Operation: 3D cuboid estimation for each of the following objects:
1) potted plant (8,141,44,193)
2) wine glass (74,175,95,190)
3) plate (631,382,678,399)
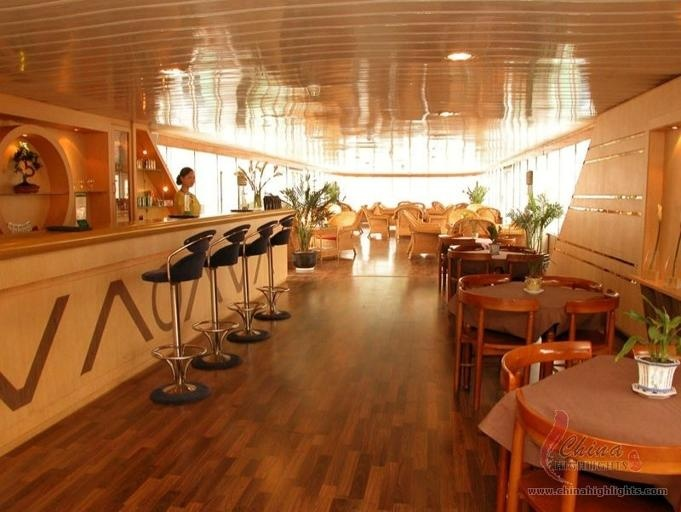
[{"bbox_3d":[-4.141,-1.180,6.266,0.328,0.692,0.529,-6,10,-31],"label":"potted plant"},{"bbox_3d":[-3.922,-1.122,7.258,0.313,0.288,0.172,2,-10,-32],"label":"wine glass"},{"bbox_3d":[1.375,0.593,2.079,0.171,0.040,0.106,4,9,27],"label":"plate"}]
